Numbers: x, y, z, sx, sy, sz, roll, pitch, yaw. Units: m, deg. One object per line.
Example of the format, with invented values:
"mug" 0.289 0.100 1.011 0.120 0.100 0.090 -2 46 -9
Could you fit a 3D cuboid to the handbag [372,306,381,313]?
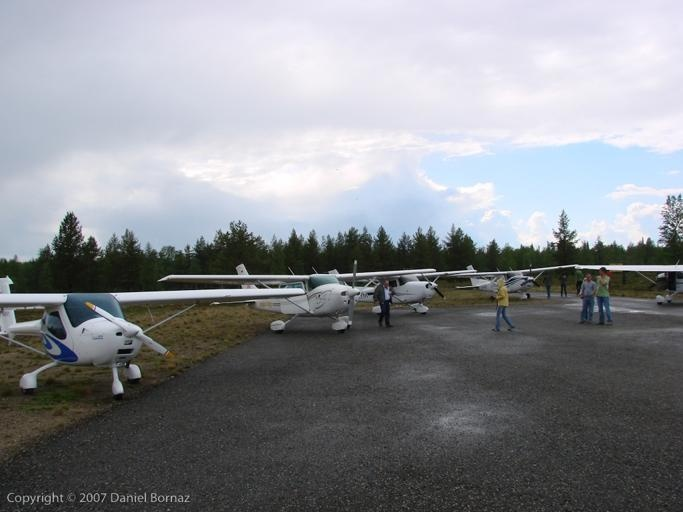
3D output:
"handbag" 1.804 2.673 25.646 0.466 0.244 0.449 3 2 36
